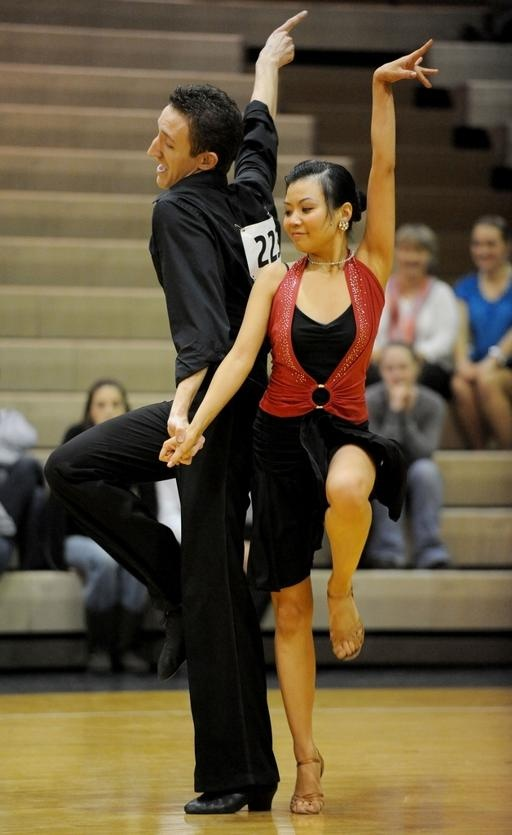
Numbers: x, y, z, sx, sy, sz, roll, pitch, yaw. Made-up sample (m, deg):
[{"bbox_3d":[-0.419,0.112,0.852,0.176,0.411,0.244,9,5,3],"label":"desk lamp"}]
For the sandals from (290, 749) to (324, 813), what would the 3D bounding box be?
[{"bbox_3d":[0.094,0.615,1.790,0.039,0.043,0.107,-6,38,17],"label":"sandals"}]

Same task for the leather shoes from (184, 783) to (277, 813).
[{"bbox_3d":[-0.042,0.630,1.770,0.163,0.059,0.055,4,-6,-10],"label":"leather shoes"}]

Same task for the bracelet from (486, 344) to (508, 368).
[{"bbox_3d":[0.871,-0.221,3.793,0.019,0.076,0.076,-44,17,43],"label":"bracelet"}]

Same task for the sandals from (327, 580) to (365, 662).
[{"bbox_3d":[0.163,0.353,1.775,0.057,0.151,0.064,-5,16,10],"label":"sandals"}]

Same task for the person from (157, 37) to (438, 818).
[{"bbox_3d":[0.094,0.026,1.781,0.462,1.304,0.356,-3,5,9],"label":"person"}]
